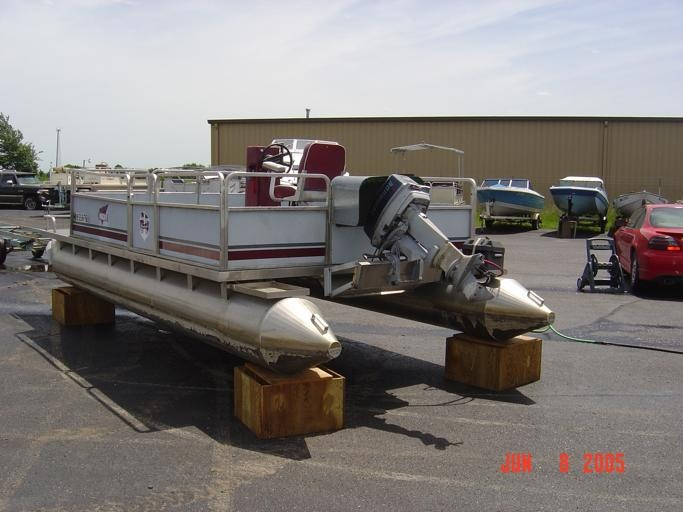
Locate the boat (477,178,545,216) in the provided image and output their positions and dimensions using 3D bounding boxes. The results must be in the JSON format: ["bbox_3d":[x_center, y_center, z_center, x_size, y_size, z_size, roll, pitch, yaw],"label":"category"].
[{"bbox_3d":[6.981,-2.345,25.343,2.417,1.245,4.265,7,4,34],"label":"boat"}]

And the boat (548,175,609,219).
[{"bbox_3d":[10.569,-2.674,26.693,2.064,1.494,8.033,5,10,23],"label":"boat"}]
